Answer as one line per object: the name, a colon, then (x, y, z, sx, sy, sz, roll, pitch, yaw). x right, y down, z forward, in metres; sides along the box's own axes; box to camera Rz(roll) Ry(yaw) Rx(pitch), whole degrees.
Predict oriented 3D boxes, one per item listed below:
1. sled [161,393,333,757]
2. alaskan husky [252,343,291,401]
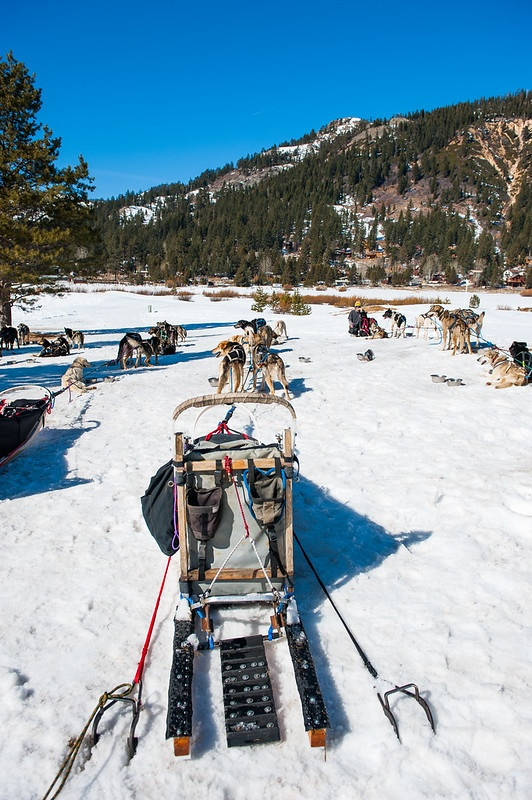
sled: (-0.221, 1.090, 4.109, 1.117, 2.010, 2.029, -1, 13, -9)
alaskan husky: (-0.004, -0.806, 12.280, 0.370, 1.185, 1.932, -6, 21, -23)
